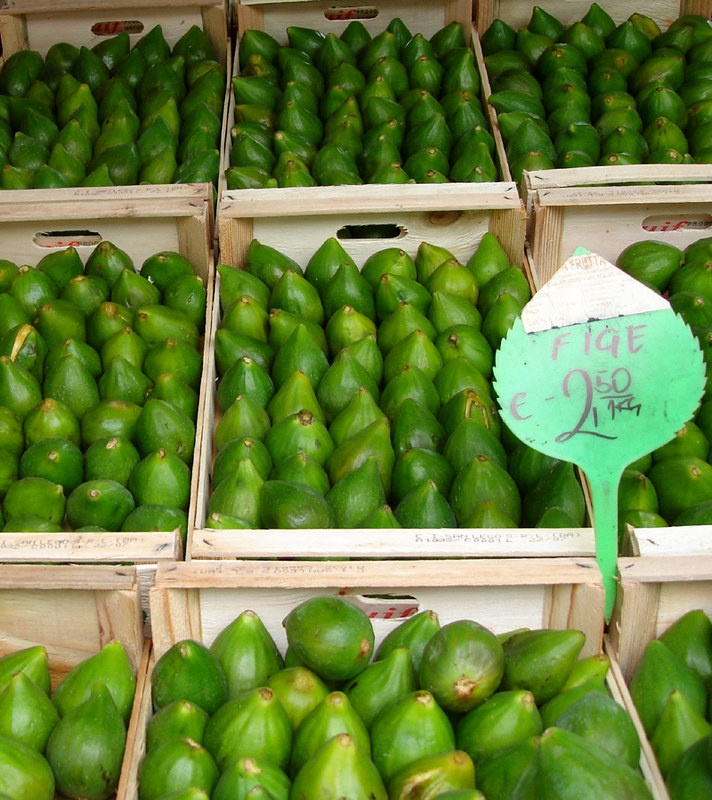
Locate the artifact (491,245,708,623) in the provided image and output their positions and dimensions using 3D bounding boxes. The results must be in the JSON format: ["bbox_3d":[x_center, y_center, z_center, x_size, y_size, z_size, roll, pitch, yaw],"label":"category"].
[{"bbox_3d":[0.476,0.069,1.365,0.320,0.692,0.315,18,32,39],"label":"artifact"}]
